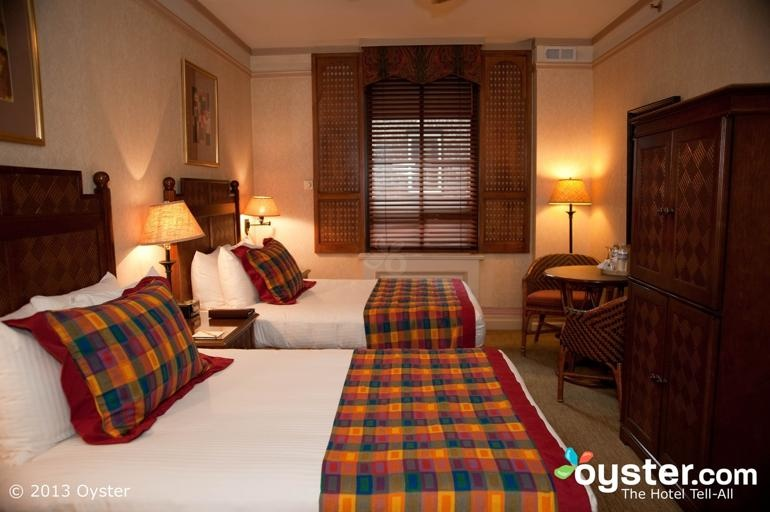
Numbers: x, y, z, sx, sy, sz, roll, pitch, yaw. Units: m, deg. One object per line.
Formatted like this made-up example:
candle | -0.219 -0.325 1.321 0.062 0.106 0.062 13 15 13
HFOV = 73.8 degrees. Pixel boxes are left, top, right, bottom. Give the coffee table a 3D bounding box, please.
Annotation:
coffee table | 1.840 0.583 4.687 0.953 1.078 1.008 -1 2 9

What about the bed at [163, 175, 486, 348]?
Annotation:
bed | -0.647 0.038 4.761 2.279 1.497 1.549 -1 5 -5

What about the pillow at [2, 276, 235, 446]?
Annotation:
pillow | -1.475 0.493 2.887 0.643 0.689 1.120 -2 9 16

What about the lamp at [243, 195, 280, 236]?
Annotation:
lamp | -1.428 -0.480 5.971 0.443 0.517 0.444 0 6 8
